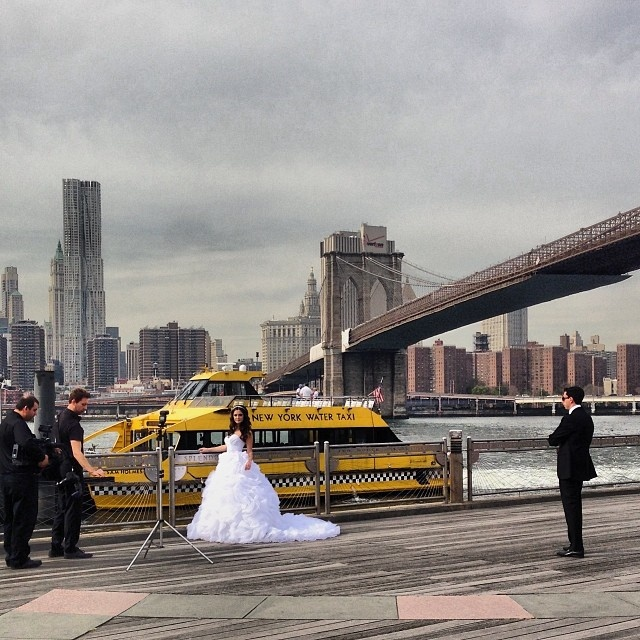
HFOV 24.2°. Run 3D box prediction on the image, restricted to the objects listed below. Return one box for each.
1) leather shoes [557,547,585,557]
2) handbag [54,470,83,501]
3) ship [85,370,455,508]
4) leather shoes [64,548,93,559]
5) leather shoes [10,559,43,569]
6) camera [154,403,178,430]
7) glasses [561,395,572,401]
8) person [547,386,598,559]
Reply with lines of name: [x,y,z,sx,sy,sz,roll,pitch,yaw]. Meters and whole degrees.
leather shoes: [2.902,2.680,17.347,0.319,0.119,0.110,6,-9,8]
handbag: [-2.935,1.904,17.453,0.249,0.390,0.135,12,18,35]
ship: [-0.924,2.028,25.955,5.137,1.655,2.662,2,-6,-28]
leather shoes: [-2.855,2.726,17.577,0.327,0.111,0.123,1,-3,-2]
leather shoes: [-3.369,2.747,17.100,0.378,0.137,0.127,-1,-2,-10]
camera: [-2.762,1.704,26.940,0.388,0.182,0.521,0,-22,-6]
glasses: [2.920,0.904,17.720,0.112,0.051,0.082,5,-8,10]
person: [3.003,1.751,17.805,0.543,1.973,1.086,-2,-2,9]
